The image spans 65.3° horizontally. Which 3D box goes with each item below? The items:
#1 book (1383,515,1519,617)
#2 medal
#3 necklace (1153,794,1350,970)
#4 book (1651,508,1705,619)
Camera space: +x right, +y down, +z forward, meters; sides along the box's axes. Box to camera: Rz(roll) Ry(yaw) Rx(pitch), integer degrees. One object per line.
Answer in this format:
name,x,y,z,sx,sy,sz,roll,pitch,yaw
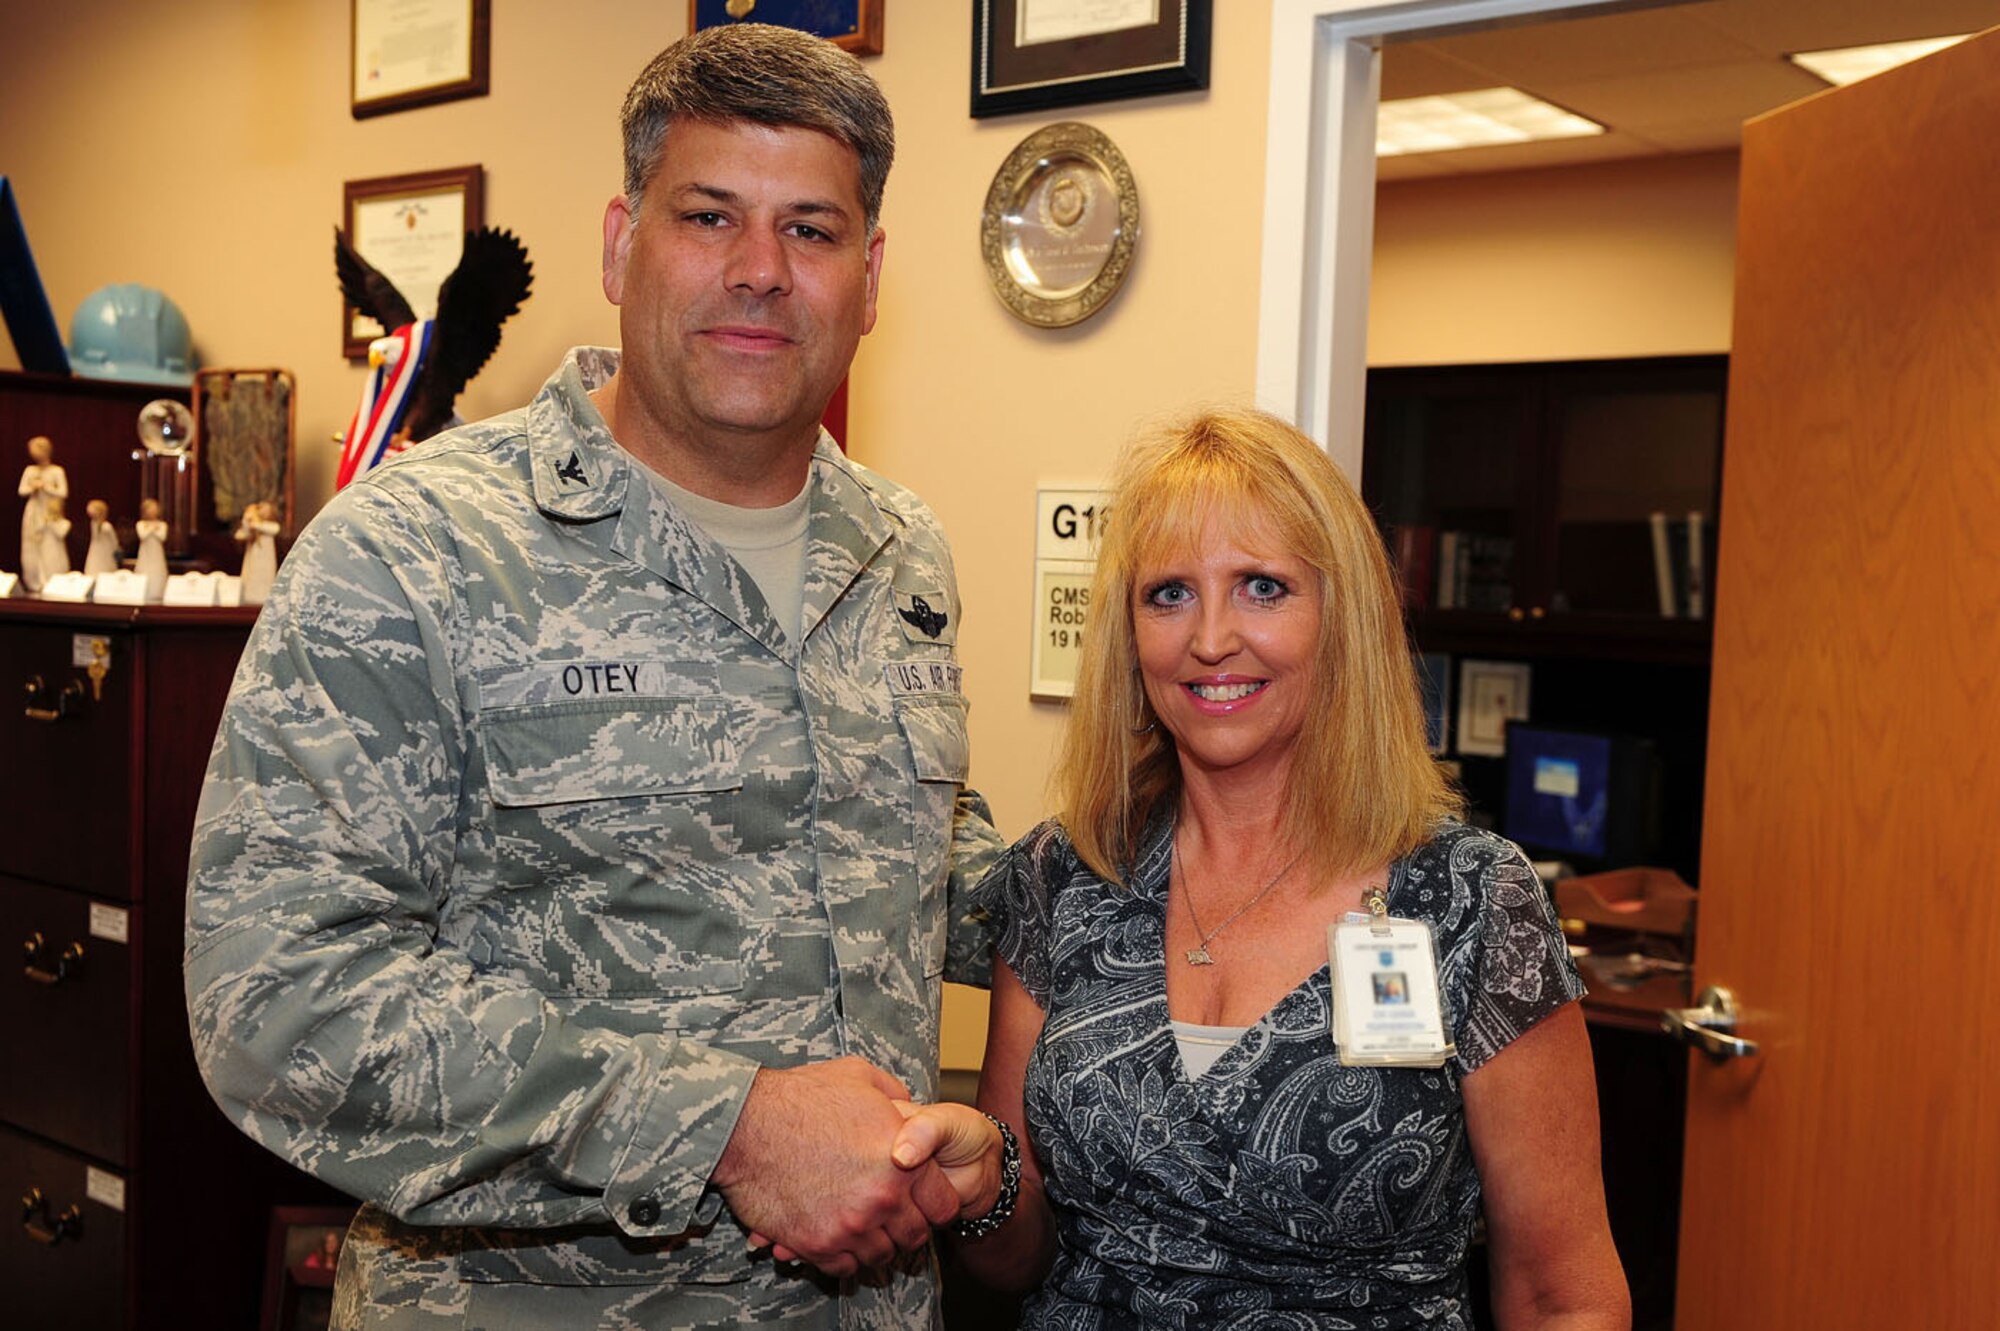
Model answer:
book,1.700,-0.352,6.053,0.562,0.548,0.338,-1,-3,4
medal,0.127,-0.885,3.175,0.348,0.392,0.027,14,8,30
necklace,0.382,0.325,2.308,0.083,0.241,0.034,-19,-18,7
book,2.404,-0.351,5.540,0.199,0.382,0.183,1,1,23
